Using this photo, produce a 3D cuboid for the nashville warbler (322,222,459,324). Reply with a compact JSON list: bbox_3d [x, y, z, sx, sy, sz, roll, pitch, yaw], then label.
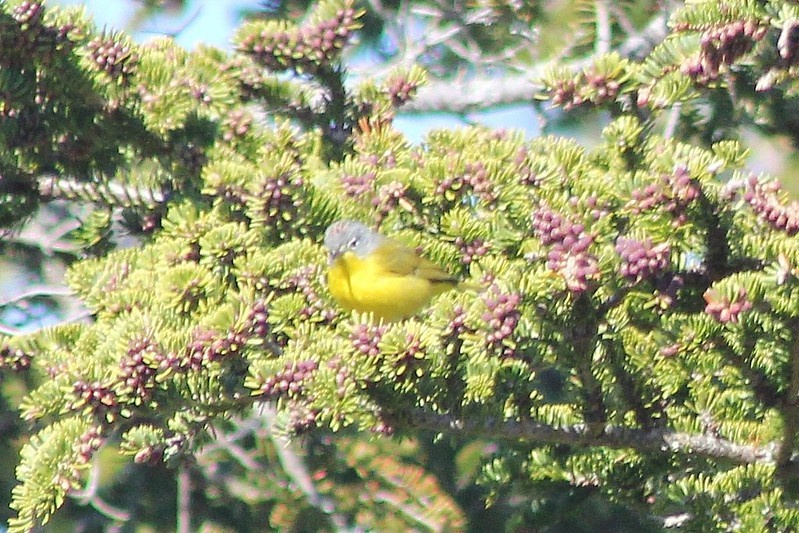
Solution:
[{"bbox_3d":[-0.115,0.038,9.842,0.714,0.399,0.480,-18,81,-28],"label":"nashville warbler"}]
